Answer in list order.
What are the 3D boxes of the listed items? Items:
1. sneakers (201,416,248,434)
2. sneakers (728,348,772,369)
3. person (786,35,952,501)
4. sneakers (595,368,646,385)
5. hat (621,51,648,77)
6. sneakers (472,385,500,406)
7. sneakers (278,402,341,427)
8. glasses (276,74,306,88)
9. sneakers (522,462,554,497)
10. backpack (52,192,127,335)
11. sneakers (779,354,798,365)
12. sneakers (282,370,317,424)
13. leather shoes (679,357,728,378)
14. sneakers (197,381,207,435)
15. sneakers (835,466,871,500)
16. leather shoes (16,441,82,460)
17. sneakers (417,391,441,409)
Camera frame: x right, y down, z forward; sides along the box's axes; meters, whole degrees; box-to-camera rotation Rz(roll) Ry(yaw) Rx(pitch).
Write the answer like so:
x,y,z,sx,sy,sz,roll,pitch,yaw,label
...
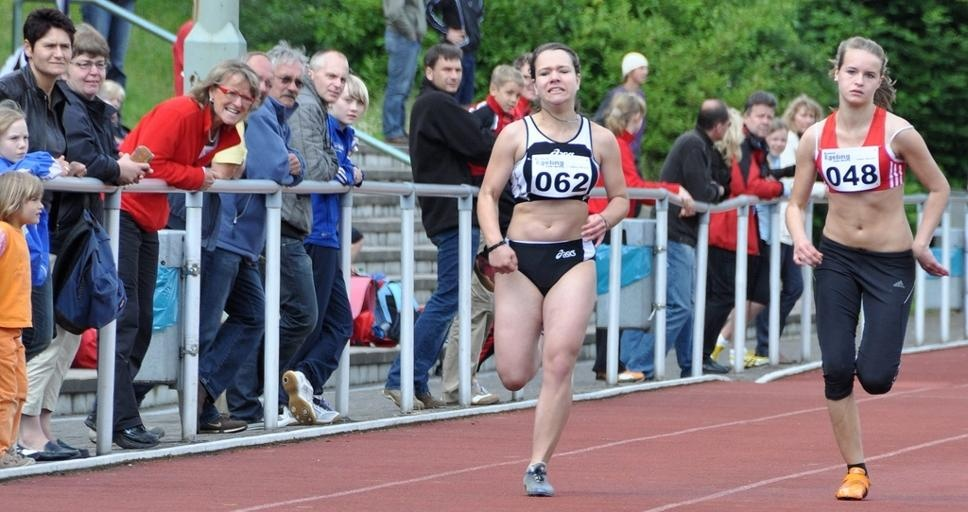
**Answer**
x,y,z,sx,sy,sz,roll,pitch,yaw,label
-2.414,1.582,13.949,0.467,0.162,0.154,-2,0,-5,sneakers
3.093,1.221,17.769,0.644,0.249,0.210,-1,2,-5,sneakers
3.210,0.079,12.619,1.263,3.784,0.741,-2,5,9,person
1.492,1.324,16.374,0.505,0.119,0.184,4,-6,-17,sneakers
1.861,-2.346,18.562,0.263,0.283,0.320,-2,5,2,hat
0.009,1.410,15.191,0.243,0.192,0.256,-1,5,12,sneakers
-1.644,1.529,14.274,0.599,0.222,0.194,0,-6,-13,sneakers
-1.837,-1.647,14.197,0.146,0.068,0.184,2,-5,-17,glasses
0.464,1.852,12.460,0.260,0.270,0.208,-3,5,-1,sneakers
-3.387,0.139,12.789,0.585,1.075,0.258,-2,5,12,backpack
3.696,1.263,18.175,0.171,0.052,0.113,-3,-31,7,sneakers
-1.742,1.347,14.225,0.294,0.523,0.185,-4,5,-13,sneakers
2.479,1.283,17.090,0.680,0.253,0.206,-4,-1,-8,leather shoes
-2.604,1.406,13.848,0.081,0.454,0.117,0,6,32,sneakers
3.076,1.887,12.492,0.273,0.246,0.275,-1,5,12,sneakers
-3.721,1.687,12.829,0.377,0.101,0.196,-1,0,-10,leather shoes
-0.551,1.463,15.029,0.333,0.195,0.104,-1,-2,-7,sneakers
